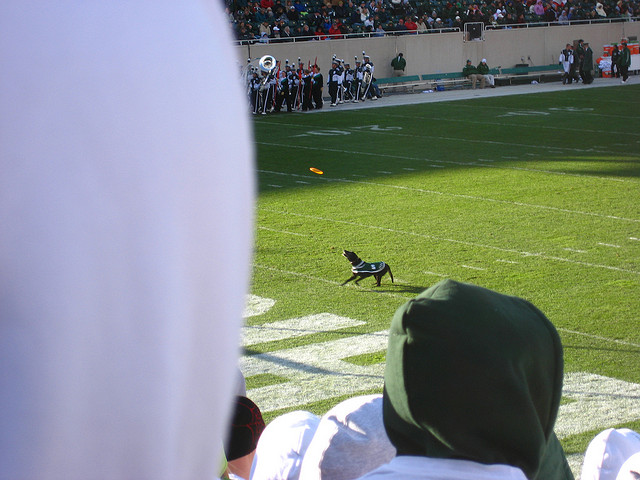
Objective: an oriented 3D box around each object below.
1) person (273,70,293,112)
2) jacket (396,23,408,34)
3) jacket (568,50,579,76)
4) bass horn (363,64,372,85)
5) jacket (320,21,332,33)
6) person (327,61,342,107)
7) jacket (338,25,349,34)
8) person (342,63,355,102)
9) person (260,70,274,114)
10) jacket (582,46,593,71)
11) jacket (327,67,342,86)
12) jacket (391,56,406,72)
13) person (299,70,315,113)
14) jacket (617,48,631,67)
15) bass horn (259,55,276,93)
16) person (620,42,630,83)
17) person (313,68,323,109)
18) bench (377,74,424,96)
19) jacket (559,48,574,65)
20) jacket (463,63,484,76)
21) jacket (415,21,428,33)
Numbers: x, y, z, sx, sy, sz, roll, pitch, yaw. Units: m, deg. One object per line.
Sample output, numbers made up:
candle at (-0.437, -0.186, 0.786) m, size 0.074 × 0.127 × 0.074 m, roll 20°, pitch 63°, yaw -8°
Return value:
person at (-1.003, -4.094, 24.895) m, size 0.512 × 1.078 × 0.450 m, roll -5°, pitch 11°, yaw -17°
jacket at (2.807, -7.310, 31.138) m, size 0.379 × 0.334 × 1.179 m, roll -1°, pitch 12°, yaw 4°
jacket at (8.802, -6.272, 31.525) m, size 0.178 × 0.527 × 0.653 m, roll 19°, pitch -24°, yaw 31°
bass horn at (1.445, -5.069, 27.600) m, size 0.186 × 0.668 × 0.258 m, roll 9°, pitch -11°, yaw -27°
jacket at (0.188, -7.089, 29.910) m, size 0.259 × 0.394 × 0.143 m, roll 2°, pitch -5°, yaw 6°
person at (0.442, -4.702, 26.909) m, size 0.417 × 1.201 × 0.939 m, roll -2°, pitch 11°, yaw 1°
jacket at (0.799, -7.121, 30.358) m, size 0.222 × 0.268 × 1.070 m, roll 0°, pitch 12°, yaw 11°
person at (0.860, -4.706, 27.267) m, size 0.354 × 0.948 × 0.765 m, roll -2°, pitch 11°, yaw 3°
person at (-1.443, -4.038, 24.614) m, size 0.284 × 1.039 × 0.903 m, roll 1°, pitch 23°, yaw 13°
jacket at (9.212, -6.285, 31.247) m, size 0.314 × 0.768 × 0.664 m, roll 1°, pitch 11°, yaw 14°
jacket at (0.443, -4.882, 26.849) m, size 0.515 × 0.512 × 0.306 m, roll 7°, pitch 30°, yaw 14°
jacket at (2.563, -5.849, 29.883) m, size 0.594 × 0.636 × 0.347 m, roll 1°, pitch -2°, yaw 3°
person at (-0.366, -4.204, 25.210) m, size 0.396 × 1.087 × 0.471 m, roll -2°, pitch 11°, yaw -1°
jacket at (10.767, -6.554, 32.178) m, size 0.374 × 0.638 × 0.671 m, roll -7°, pitch 22°, yaw -14°
bass horn at (-1.413, -4.480, 24.234) m, size 0.468 × 0.945 × 1.714 m, roll -3°, pitch 12°, yaw -3°
person at (10.749, -6.322, 31.923) m, size 0.258 × 1.316 × 1.188 m, roll 1°, pitch 12°, yaw 18°
person at (-0.085, -4.220, 25.394) m, size 0.239 × 0.970 × 0.598 m, roll -3°, pitch 11°, yaw -2°
bench at (2.558, -5.185, 29.900) m, size 1.132 × 0.541 × 2.354 m, roll 3°, pitch 13°, yaw 22°
jacket at (8.695, -6.522, 31.725) m, size 0.473 × 0.538 × 0.202 m, roll 4°, pitch -5°, yaw 30°
jacket at (5.175, -5.843, 30.826) m, size 0.629 × 0.377 × 0.261 m, roll 0°, pitch 11°, yaw 9°
jacket at (3.535, -7.458, 31.596) m, size 0.313 × 0.431 × 0.162 m, roll -4°, pitch -29°, yaw -24°
